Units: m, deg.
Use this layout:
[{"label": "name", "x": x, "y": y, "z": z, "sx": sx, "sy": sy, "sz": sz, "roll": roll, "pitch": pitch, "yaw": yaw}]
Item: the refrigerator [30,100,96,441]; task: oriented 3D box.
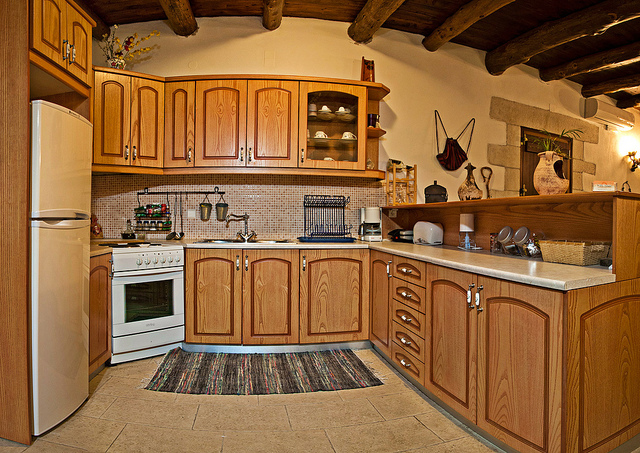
[{"label": "refrigerator", "x": -1.932, "y": 0.309, "z": 3.365, "sx": 0.175, "sy": 2.386, "sz": 0.541, "roll": 1, "pitch": 3, "yaw": 12}]

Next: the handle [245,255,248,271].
[{"label": "handle", "x": -0.715, "y": 0.348, "z": 4.334, "sx": 0.036, "sy": 0.107, "sz": 0.028, "roll": 5, "pitch": 3, "yaw": -16}]

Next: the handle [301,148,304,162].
[{"label": "handle", "x": -0.180, "y": -0.742, "z": 4.640, "sx": 0.027, "sy": 0.123, "sz": 0.011, "roll": 0, "pitch": 3, "yaw": -19}]

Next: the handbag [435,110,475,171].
[{"label": "handbag", "x": 1.692, "y": -1.048, "z": 5.551, "sx": 0.580, "sy": 0.722, "sz": 0.162, "roll": -1, "pitch": 3, "yaw": -31}]

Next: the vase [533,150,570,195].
[{"label": "vase", "x": 1.787, "y": -0.419, "z": 3.451, "sx": 0.209, "sy": 0.348, "sz": 0.287, "roll": 2, "pitch": 3, "yaw": 37}]

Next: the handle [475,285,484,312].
[{"label": "handle", "x": 1.127, "y": 0.504, "z": 3.163, "sx": 0.010, "sy": 0.181, "sz": 0.064, "roll": -2, "pitch": 4, "yaw": -43}]

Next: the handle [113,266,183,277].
[{"label": "handle", "x": -1.598, "y": 0.415, "z": 4.170, "sx": 0.607, "sy": 0.062, "sz": 0.023, "roll": -1, "pitch": 3, "yaw": -29}]

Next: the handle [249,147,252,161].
[{"label": "handle", "x": -0.712, "y": -0.740, "z": 4.586, "sx": 0.025, "sy": 0.133, "sz": 0.006, "roll": 0, "pitch": 3, "yaw": -10}]

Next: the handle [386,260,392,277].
[{"label": "handle", "x": 0.637, "y": 0.380, "z": 4.103, "sx": 0.014, "sy": 0.153, "sz": 0.078, "roll": 0, "pitch": 3, "yaw": -19}]

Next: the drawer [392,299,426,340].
[{"label": "drawer", "x": 0.766, "y": 0.780, "z": 3.806, "sx": 0.218, "sy": 0.145, "sz": 0.327, "roll": 7, "pitch": 2, "yaw": -22}]

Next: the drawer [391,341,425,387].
[{"label": "drawer", "x": 0.754, "y": 1.150, "z": 3.816, "sx": 0.216, "sy": 0.173, "sz": 0.360, "roll": 2, "pitch": 2, "yaw": -17}]

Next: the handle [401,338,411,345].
[{"label": "handle", "x": 0.737, "y": 0.986, "z": 3.846, "sx": 0.012, "sy": 0.030, "sz": 0.046, "roll": -1, "pitch": 41, "yaw": -46}]

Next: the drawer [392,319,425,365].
[{"label": "drawer", "x": 0.760, "y": 0.978, "z": 3.811, "sx": 0.230, "sy": 0.146, "sz": 0.333, "roll": 11, "pitch": 3, "yaw": -20}]

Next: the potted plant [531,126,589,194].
[{"label": "potted plant", "x": 1.854, "y": -0.522, "z": 3.498, "sx": 0.408, "sy": 0.538, "sz": 0.397, "roll": 5, "pitch": 0, "yaw": -36}]

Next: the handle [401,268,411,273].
[{"label": "handle", "x": 0.745, "y": 0.375, "z": 3.842, "sx": 0.018, "sy": 0.023, "sz": 0.065, "roll": 7, "pitch": -1, "yaw": -35}]

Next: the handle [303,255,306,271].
[{"label": "handle", "x": -0.152, "y": 0.356, "z": 4.372, "sx": 0.025, "sy": 0.145, "sz": 0.013, "roll": 0, "pitch": 3, "yaw": -3}]

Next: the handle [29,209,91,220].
[{"label": "handle", "x": -1.909, "y": -0.091, "z": 3.280, "sx": 0.038, "sy": 0.056, "sz": 0.407, "roll": -3, "pitch": 1, "yaw": 34}]

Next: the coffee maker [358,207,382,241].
[{"label": "coffee maker", "x": 0.543, "y": -0.026, "z": 4.734, "sx": 0.231, "sy": 0.358, "sz": 0.348, "roll": 1, "pitch": -8, "yaw": -2}]

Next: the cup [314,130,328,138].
[{"label": "cup", "x": 0.004, "y": -0.974, "z": 4.733, "sx": 0.099, "sy": 0.048, "sz": 0.096, "roll": 0, "pitch": -3, "yaw": 0}]

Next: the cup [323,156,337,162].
[{"label": "cup", "x": 0.104, "y": -0.714, "z": 4.722, "sx": 0.139, "sy": 0.057, "sz": 0.048, "roll": 0, "pitch": 3, "yaw": -14}]

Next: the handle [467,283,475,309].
[{"label": "handle", "x": 1.087, "y": 0.492, "z": 3.212, "sx": 0.014, "sy": 0.179, "sz": 0.061, "roll": -2, "pitch": 4, "yaw": -38}]
